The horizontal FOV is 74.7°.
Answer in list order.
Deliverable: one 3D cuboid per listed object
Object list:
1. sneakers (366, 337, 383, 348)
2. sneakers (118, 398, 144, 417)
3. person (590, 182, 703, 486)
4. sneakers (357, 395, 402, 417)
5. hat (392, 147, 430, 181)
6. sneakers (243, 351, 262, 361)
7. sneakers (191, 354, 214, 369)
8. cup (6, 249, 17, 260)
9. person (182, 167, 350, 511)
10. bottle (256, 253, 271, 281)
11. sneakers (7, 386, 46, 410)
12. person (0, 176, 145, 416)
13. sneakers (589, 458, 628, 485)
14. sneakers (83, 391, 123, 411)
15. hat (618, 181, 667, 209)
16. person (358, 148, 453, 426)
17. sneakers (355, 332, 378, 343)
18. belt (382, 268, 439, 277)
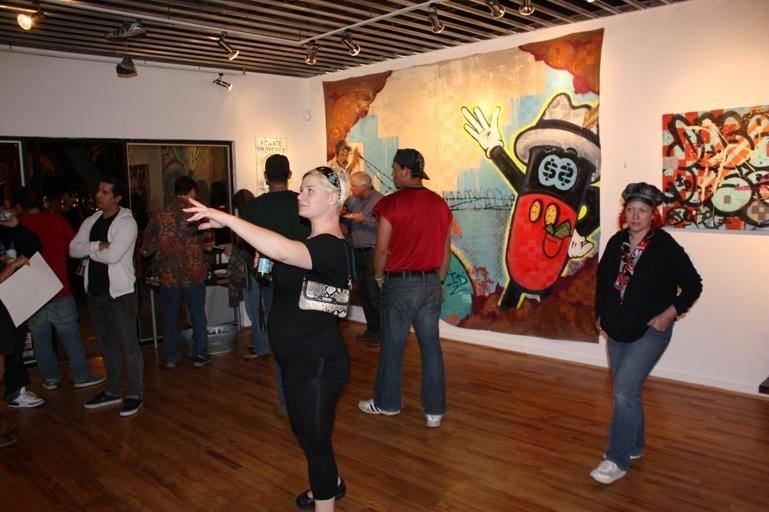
[{"bbox_3d":[-0.148,1.212,7.121,0.137,0.143,0.329,-1,-5,19],"label":"sneakers"},{"bbox_3d":[-2.719,1.595,5.381,0.183,0.137,0.223,-3,14,-9],"label":"sneakers"},{"bbox_3d":[2.076,0.643,4.083,0.713,2.417,0.632,5,15,24],"label":"person"},{"bbox_3d":[-0.067,1.571,5.330,0.439,0.206,0.175,8,7,25],"label":"sneakers"},{"bbox_3d":[0.269,-0.938,4.973,0.349,0.203,0.253,29,18,6],"label":"hat"},{"bbox_3d":[-1.791,1.344,6.778,0.294,0.098,0.152,5,-2,-24],"label":"sneakers"},{"bbox_3d":[-2.377,1.368,6.573,0.108,0.123,0.285,2,4,24],"label":"sneakers"},{"bbox_3d":[-3.690,-0.020,4.960,0.083,0.112,0.101,-11,17,-33],"label":"cup"},{"bbox_3d":[-0.590,0.768,3.470,0.748,2.674,0.470,-2,13,-3],"label":"person"},{"bbox_3d":[-0.811,0.073,3.362,0.073,0.236,0.073,0,-33,0],"label":"bottle"},{"bbox_3d":[-3.955,1.564,5.531,0.393,0.201,0.173,4,1,-6],"label":"sneakers"},{"bbox_3d":[-3.205,0.391,5.535,1.406,2.440,0.667,7,16,31],"label":"person"},{"bbox_3d":[1.855,1.788,4.181,0.278,0.136,0.147,-1,3,-26],"label":"sneakers"},{"bbox_3d":[-3.101,1.596,5.593,0.418,0.169,0.155,2,-3,-25],"label":"sneakers"},{"bbox_3d":[2.141,-0.525,4.047,0.281,0.122,0.253,24,-6,-23],"label":"hat"},{"bbox_3d":[0.201,0.282,5.149,0.972,2.701,0.685,0,4,2],"label":"person"},{"bbox_3d":[-0.262,1.169,7.233,0.303,0.132,0.133,4,2,-1],"label":"sneakers"},{"bbox_3d":[0.248,0.169,4.904,0.497,0.093,0.136,0,14,4],"label":"belt"}]
